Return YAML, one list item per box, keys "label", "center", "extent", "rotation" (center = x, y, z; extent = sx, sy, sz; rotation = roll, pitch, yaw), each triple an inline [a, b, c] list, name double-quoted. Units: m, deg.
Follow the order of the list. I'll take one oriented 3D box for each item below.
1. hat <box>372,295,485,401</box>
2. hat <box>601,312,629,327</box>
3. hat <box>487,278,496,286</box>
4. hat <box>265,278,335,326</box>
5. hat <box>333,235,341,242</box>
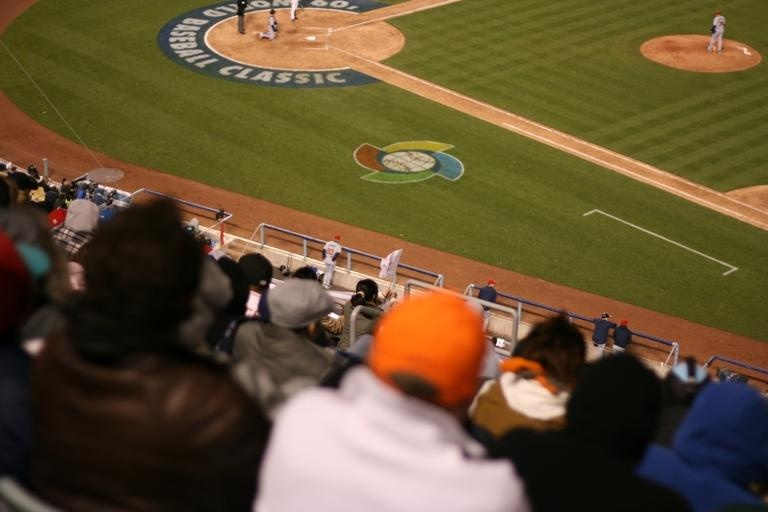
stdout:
- label: "hat"
  center: [0.336, 0.487, 4.958]
  extent: [0.581, 0.555, 0.742]
  rotation: [31, 14, 7]
- label: "hat"
  center: [5.663, 1.576, 19.666]
  extent: [0.836, 0.219, 0.290]
  rotation: [17, 2, -35]
- label: "hat"
  center: [2.536, 0.629, 19.087]
  extent: [0.199, 0.073, 0.260]
  rotation: [-1, 3, 11]
- label: "hat"
  center: [-0.770, 0.437, 7.100]
  extent: [0.577, 0.457, 0.450]
  rotation: [15, 1, -7]
- label: "hat"
  center: [-1.251, -0.456, 20.656]
  extent: [0.147, 0.158, 0.175]
  rotation: [23, 32, 11]
